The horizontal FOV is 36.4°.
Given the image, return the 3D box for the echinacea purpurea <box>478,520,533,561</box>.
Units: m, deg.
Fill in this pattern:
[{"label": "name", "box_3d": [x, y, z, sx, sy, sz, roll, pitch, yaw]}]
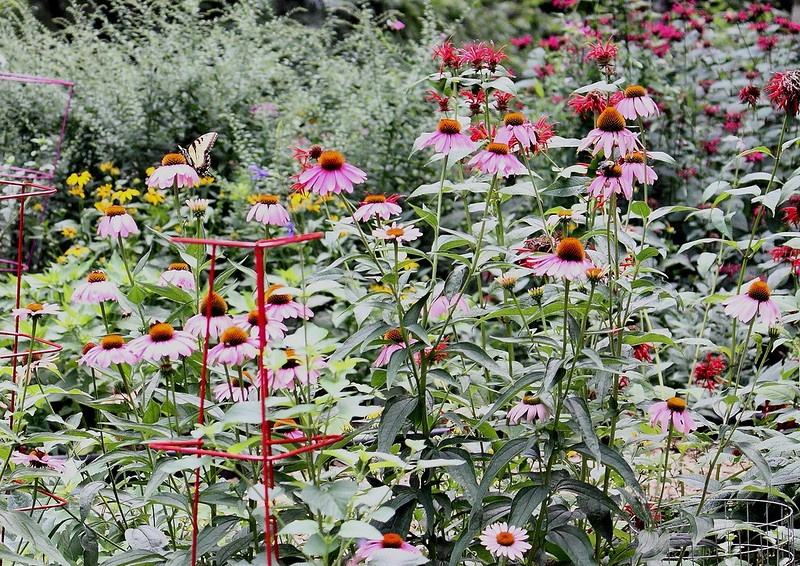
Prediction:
[{"label": "echinacea purpurea", "box_3d": [0.406, 1.011, 4.750, 0.156, 0.050, 0.162, -10, 48, -8]}]
